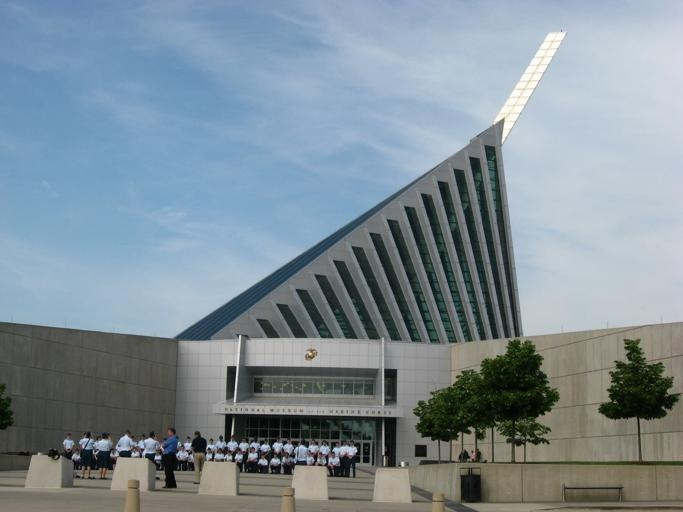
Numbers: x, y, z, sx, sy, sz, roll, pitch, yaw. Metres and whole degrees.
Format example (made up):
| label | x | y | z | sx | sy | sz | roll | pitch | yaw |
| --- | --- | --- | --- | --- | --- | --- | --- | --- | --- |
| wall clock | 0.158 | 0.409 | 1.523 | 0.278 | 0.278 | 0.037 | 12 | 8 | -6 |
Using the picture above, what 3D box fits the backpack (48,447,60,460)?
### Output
| label | x | y | z | sx | sy | sz | roll | pitch | yaw |
| --- | --- | --- | --- | --- | --- | --- | --- | --- | --- |
| backpack | -11.522 | 7.988 | 48.239 | 0.403 | 0.346 | 0.522 | 17 | -19 | 15 |
